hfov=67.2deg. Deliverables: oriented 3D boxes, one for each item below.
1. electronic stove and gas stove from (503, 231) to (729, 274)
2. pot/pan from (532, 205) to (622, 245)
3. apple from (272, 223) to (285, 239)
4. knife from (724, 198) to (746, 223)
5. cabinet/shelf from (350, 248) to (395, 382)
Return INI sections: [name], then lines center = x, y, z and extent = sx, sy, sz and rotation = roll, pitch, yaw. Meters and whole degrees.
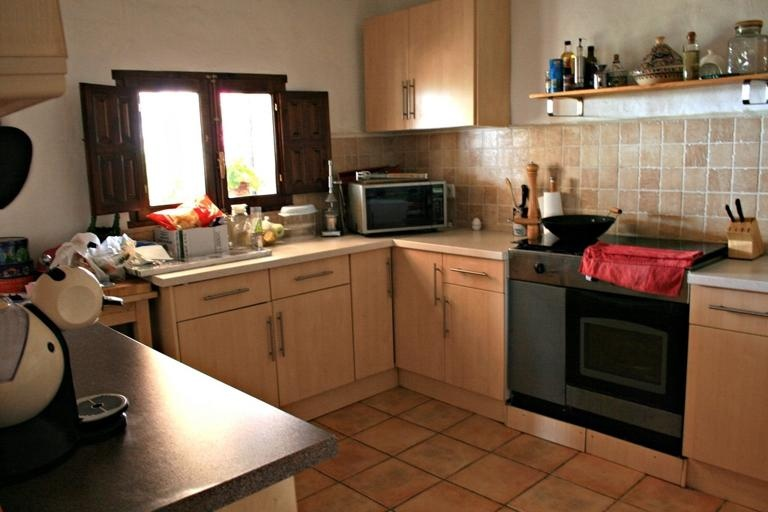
[electronic stove and gas stove]
center = 1.389, -0.022, 3.518
extent = 1.163, 0.177, 0.667
rotation = 6, 17, 33
[pot/pan]
center = 1.222, -0.175, 3.616
extent = 0.456, 0.190, 0.546
rotation = 2, 16, 21
[apple]
center = -0.771, -0.174, 4.246
extent = 0.098, 0.121, 0.092
rotation = 4, 16, 12
[knife]
center = 1.982, -0.248, 3.274
extent = 0.101, 0.303, 0.033
rotation = 6, 64, 26
[cabinet/shelf]
center = -0.083, 0.406, 4.148
extent = 0.125, 0.878, 0.474
rotation = 9, 21, 41
